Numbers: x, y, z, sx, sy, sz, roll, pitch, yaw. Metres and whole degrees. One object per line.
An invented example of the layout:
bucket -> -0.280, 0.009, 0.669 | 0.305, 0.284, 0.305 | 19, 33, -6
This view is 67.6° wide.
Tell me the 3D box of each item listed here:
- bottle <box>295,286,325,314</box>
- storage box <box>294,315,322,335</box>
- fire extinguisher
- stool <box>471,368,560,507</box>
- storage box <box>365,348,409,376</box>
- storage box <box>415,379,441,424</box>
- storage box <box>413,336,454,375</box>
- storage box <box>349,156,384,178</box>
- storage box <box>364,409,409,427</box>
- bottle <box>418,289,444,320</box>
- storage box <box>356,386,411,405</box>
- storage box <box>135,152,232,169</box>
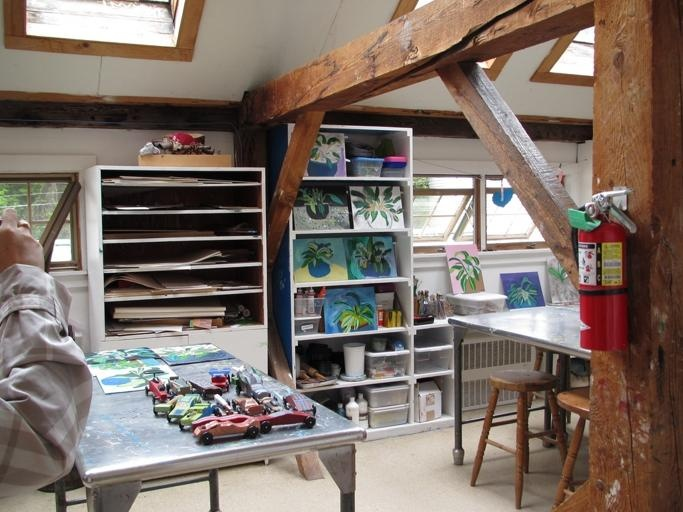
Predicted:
bottle -> -0.304, 0.448, 5.078 | 0.306, 0.255, 0.227 | 1, -1, -18
storage box -> -0.296, 0.666, 4.977 | 0.238, 0.107, 0.164 | -4, 2, -11
fire extinguisher -> 0.956, 0.051, 1.900 | 0.228, 0.611, 0.125 | 5, 5, 28
stool -> 1.497, 1.423, 4.257 | 0.692, 0.920, 0.900 | 4, 5, 24
storage box -> 0.486, 1.081, 5.230 | 0.398, 0.199, 0.271 | 0, -2, -11
storage box -> 0.900, 1.504, 5.507 | 0.271, 0.424, 0.373 | -4, 8, -16
storage box -> 1.002, 1.062, 5.445 | 0.356, 0.193, 0.343 | -1, 0, -29
storage box -> 0.273, -0.889, 5.064 | 0.287, 0.152, 0.193 | -2, 4, -26
storage box -> 0.517, 1.638, 5.210 | 0.310, 0.115, 0.217 | -2, -1, -26
bottle -> 0.984, 0.537, 5.583 | 0.339, 0.290, 0.100 | 1, -6, -24
storage box -> 0.504, 1.382, 5.197 | 0.360, 0.134, 0.237 | 0, -2, -21
storage box -> -1.322, -0.831, 4.466 | 0.755, 0.135, 0.162 | 0, 5, -17
